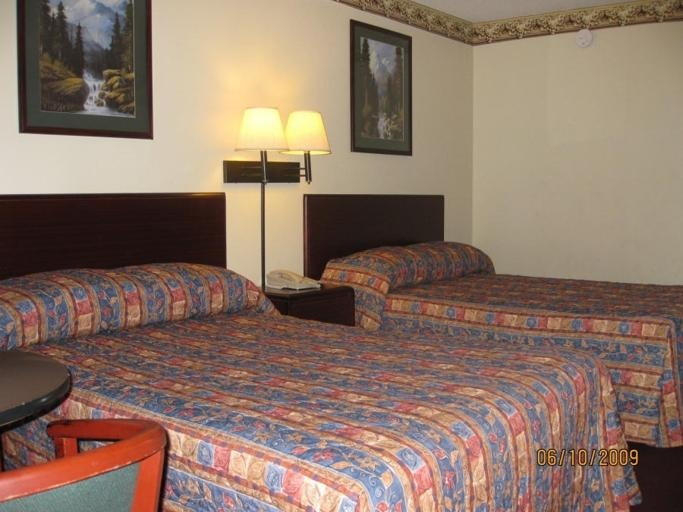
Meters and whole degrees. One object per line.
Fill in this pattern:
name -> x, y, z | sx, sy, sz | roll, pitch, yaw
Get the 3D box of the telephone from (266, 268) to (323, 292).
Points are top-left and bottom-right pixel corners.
telephone -> -0.415, 0.167, 3.896 | 0.278, 0.092, 0.207 | 1, 4, 31

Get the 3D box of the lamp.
lamp -> -0.501, -0.862, 4.029 | 0.878, 0.579, 0.509 | -9, 13, -43
